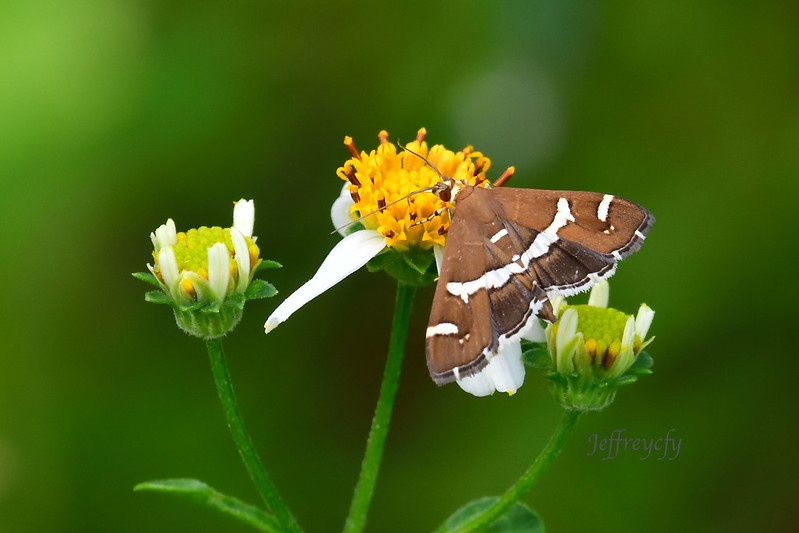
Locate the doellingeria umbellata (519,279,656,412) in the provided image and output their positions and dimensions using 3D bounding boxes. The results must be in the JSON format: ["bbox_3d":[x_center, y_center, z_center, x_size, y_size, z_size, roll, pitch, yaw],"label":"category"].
[{"bbox_3d":[0.964,0.458,3.690,0.614,0.586,0.585,-2,12,-32],"label":"doellingeria umbellata"}]

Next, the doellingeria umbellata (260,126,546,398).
[{"bbox_3d":[-0.185,-0.120,3.775,0.946,1.705,1.533,-7,11,33],"label":"doellingeria umbellata"}]

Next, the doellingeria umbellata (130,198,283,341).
[{"bbox_3d":[-0.931,0.067,3.570,0.658,0.508,0.353,3,25,-8],"label":"doellingeria umbellata"}]

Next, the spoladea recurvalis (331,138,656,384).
[{"bbox_3d":[0.533,-0.057,3.625,1.368,0.380,1.066,-39,77,-20],"label":"spoladea recurvalis"}]
